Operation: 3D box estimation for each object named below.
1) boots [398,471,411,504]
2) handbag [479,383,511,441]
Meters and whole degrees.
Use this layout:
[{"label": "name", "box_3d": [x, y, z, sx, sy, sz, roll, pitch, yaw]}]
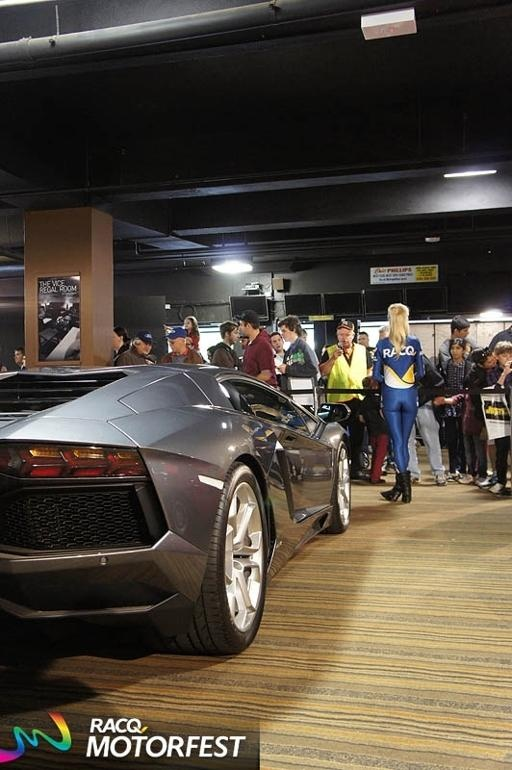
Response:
[{"label": "boots", "box_3d": [1.500, 1.032, 5.455, 0.111, 0.306, 0.173, -2, -7, 7]}, {"label": "handbag", "box_3d": [2.568, 0.303, 5.731, 0.212, 0.580, 0.389, 2, -7, -26]}]
